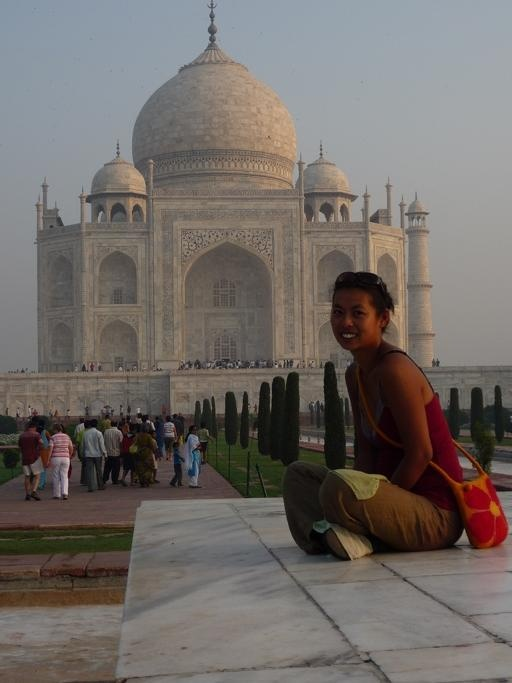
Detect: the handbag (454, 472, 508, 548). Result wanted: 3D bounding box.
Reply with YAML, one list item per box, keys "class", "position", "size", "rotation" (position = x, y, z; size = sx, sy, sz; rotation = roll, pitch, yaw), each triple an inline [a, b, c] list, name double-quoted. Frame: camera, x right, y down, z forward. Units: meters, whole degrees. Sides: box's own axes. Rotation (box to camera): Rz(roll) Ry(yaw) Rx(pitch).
- class: "handbag"
  position: [0.576, 0.431, 2.652]
  size: [0.052, 0.182, 0.139]
  rotation: [-18, 21, 40]
